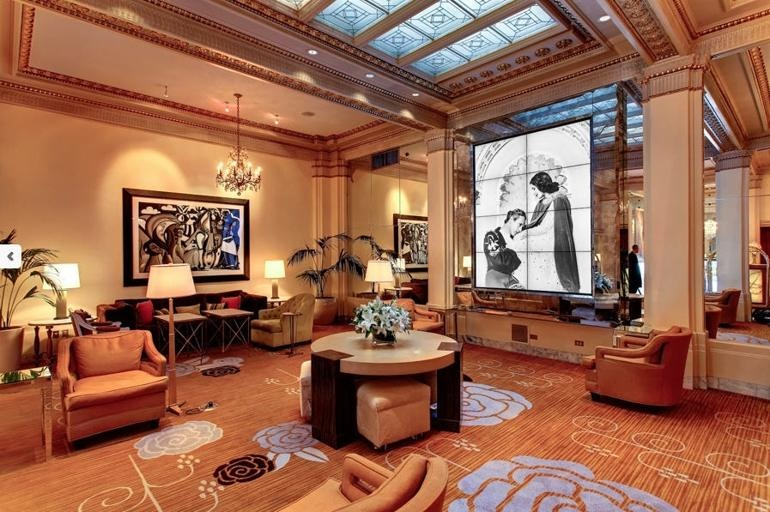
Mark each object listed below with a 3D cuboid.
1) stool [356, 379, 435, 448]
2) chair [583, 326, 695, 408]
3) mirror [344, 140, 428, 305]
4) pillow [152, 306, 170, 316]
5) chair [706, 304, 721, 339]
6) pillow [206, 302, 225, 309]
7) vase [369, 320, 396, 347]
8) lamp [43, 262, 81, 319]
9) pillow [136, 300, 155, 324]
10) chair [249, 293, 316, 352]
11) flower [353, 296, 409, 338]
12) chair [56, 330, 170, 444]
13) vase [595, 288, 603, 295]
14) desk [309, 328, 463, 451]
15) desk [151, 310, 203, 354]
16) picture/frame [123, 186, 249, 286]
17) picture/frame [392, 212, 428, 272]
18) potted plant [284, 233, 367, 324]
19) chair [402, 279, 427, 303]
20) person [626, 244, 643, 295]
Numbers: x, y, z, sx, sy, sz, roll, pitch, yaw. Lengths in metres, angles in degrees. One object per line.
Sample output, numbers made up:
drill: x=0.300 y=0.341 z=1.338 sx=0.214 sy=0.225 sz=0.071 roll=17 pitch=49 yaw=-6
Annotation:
stool: x=0.144 y=1.867 z=5.733 sx=0.833 sy=0.600 sz=0.811 roll=2 pitch=-5 yaw=-37
chair: x=3.590 y=1.571 z=6.691 sx=1.082 sy=1.083 sz=1.383 roll=2 pitch=-2 yaw=-41
mirror: x=0.094 y=-0.920 z=10.606 sx=0.042 sy=4.307 sz=4.201 roll=2 pitch=-3 yaw=-41
pillow: x=-4.344 y=1.057 z=8.872 sx=0.271 sy=0.098 sz=0.205 roll=3 pitch=2 yaw=43
chair: x=4.999 y=0.982 z=6.936 sx=0.208 sy=0.481 sz=0.200 roll=6 pitch=15 yaw=28
pillow: x=-3.500 y=1.019 z=9.474 sx=0.218 sy=0.061 sz=0.207 roll=4 pitch=3 yaw=35
vase: x=-0.013 y=1.024 z=6.022 sx=0.356 sy=0.405 sz=0.333 roll=1 pitch=-10 yaw=-1
lamp: x=-5.658 y=0.566 z=8.032 sx=0.476 sy=0.990 sz=0.286 roll=-10 pitch=16 yaw=-36
pillow: x=-4.560 y=1.051 z=8.654 sx=0.162 sy=0.423 sz=0.446 roll=-4 pitch=-3 yaw=23
chair: x=-1.936 y=1.362 z=9.692 sx=1.362 sy=1.103 sz=1.035 roll=6 pitch=-8 yaw=-45
flower: x=0.004 y=0.821 z=6.212 sx=0.629 sy=0.409 sz=0.639 roll=0 pitch=-1 yaw=34
chair: x=-3.606 y=1.663 z=6.261 sx=1.409 sy=1.308 sz=1.446 roll=3 pitch=-6 yaw=-41
vase: x=3.619 y=0.564 z=7.668 sx=0.054 sy=0.091 sz=0.096 roll=0 pitch=-18 yaw=-39
desk: x=0.164 y=1.922 z=6.382 sx=2.226 sy=1.167 sz=2.243 roll=-7 pitch=-13 yaw=33
desk: x=-3.796 y=1.474 z=8.659 sx=0.973 sy=0.882 sz=0.959 roll=4 pitch=-5 yaw=-44
picture/frame: x=-4.198 y=-0.492 z=9.387 sx=2.434 sy=1.647 sz=0.097 roll=2 pitch=-5 yaw=-43
picture/frame: x=0.617 y=-0.348 z=10.353 sx=0.054 sy=1.333 sz=1.403 roll=5 pitch=-6 yaw=-41
potted plant: x=-1.653 y=0.410 z=12.065 sx=1.924 sy=1.851 sz=1.924 roll=5 pitch=-11 yaw=-29
chair: x=0.710 y=0.746 z=10.178 sx=0.504 sy=0.432 sz=0.533 roll=0 pitch=-1 yaw=41
person: x=4.038 y=0.187 z=7.347 sx=0.177 sy=0.795 sz=0.192 roll=-5 pitch=13 yaw=-16
